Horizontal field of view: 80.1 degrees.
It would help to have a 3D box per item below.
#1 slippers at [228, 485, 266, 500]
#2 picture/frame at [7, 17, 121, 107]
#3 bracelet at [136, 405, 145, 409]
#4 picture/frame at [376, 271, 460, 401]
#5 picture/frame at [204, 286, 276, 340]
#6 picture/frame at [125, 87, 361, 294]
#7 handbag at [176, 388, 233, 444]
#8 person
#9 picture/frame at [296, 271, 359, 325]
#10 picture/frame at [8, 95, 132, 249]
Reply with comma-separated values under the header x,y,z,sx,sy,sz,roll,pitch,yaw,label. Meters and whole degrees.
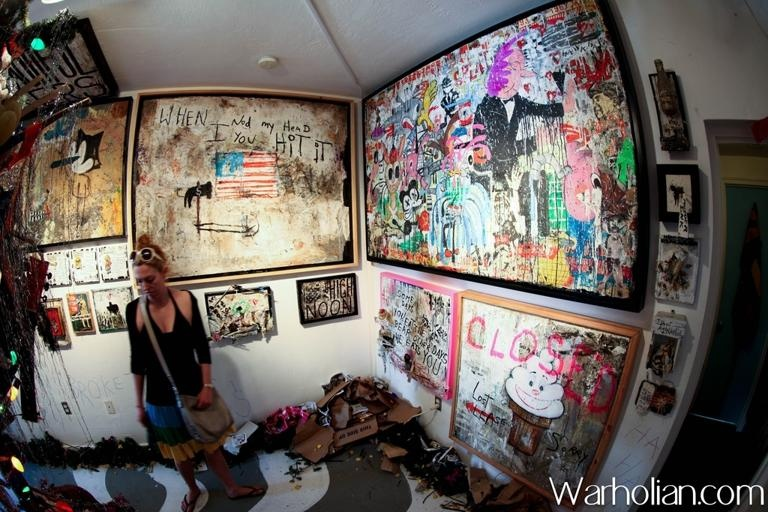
x,y,z,sx,sy,sz,roll,pitch,yaw,label
-0.718,1.219,2.401,0.138,0.034,0.073,0,-1,-20,slippers
-1.161,-0.714,1.695,0.280,0.064,0.302,-24,-19,-5,picture/frame
-1.004,0.625,1.891,0.019,0.018,0.018,9,11,37,bracelet
0.210,0.443,2.669,0.100,0.741,0.767,-5,10,-33,picture/frame
-0.806,0.310,2.499,0.308,0.239,0.032,-6,4,-36,picture/frame
-0.732,-0.352,2.289,1.098,0.835,0.040,-7,10,-40,picture/frame
-0.797,0.710,2.105,0.239,0.300,0.115,-5,25,12,handbag
-0.888,0.589,2.050,0.286,1.113,0.602,-3,2,-2,person
-0.374,0.254,2.855,0.333,0.238,0.025,-7,9,-37,picture/frame
-1.178,-0.310,1.745,0.511,0.507,0.040,-3,-3,15,picture/frame
